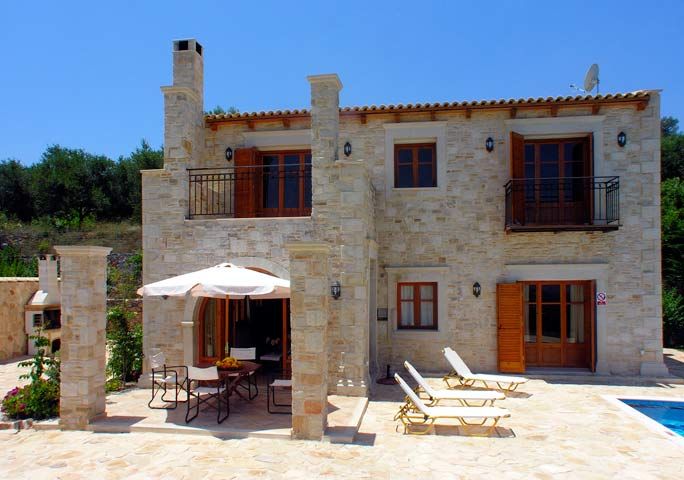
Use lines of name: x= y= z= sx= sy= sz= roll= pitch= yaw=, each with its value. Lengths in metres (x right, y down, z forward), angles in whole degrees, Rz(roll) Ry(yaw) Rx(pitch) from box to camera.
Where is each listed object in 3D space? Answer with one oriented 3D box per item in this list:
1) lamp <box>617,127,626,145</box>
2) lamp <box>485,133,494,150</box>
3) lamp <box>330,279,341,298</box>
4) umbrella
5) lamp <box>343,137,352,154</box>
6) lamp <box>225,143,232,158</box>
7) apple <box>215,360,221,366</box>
lamp: x=8.815 y=-3.251 z=24.628 sx=0.334 sy=0.492 sz=0.131 roll=1 pitch=-1 yaw=-3
lamp: x=4.706 y=-3.148 z=24.972 sx=0.296 sy=0.496 sz=0.177 roll=1 pitch=-1 yaw=8
lamp: x=-0.196 y=1.393 z=22.820 sx=0.318 sy=0.530 sz=0.139 roll=1 pitch=-1 yaw=2
umbrella: x=-3.918 y=2.038 z=23.267 sx=3.590 sy=2.041 sz=3.411 roll=1 pitch=1 yaw=-8
lamp: x=0.187 y=-3.041 z=25.313 sx=0.287 sy=0.515 sz=0.217 roll=1 pitch=-1 yaw=-3
lamp: x=-3.716 y=-2.925 z=25.664 sx=0.246 sy=0.396 sz=0.143 roll=2 pitch=7 yaw=3
apple: x=-3.438 y=3.385 z=21.810 sx=0.164 sy=0.156 sz=0.161 roll=-8 pitch=-25 yaw=26
